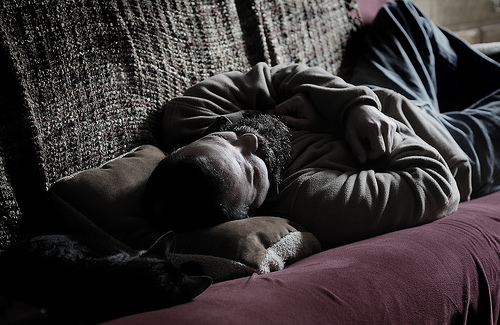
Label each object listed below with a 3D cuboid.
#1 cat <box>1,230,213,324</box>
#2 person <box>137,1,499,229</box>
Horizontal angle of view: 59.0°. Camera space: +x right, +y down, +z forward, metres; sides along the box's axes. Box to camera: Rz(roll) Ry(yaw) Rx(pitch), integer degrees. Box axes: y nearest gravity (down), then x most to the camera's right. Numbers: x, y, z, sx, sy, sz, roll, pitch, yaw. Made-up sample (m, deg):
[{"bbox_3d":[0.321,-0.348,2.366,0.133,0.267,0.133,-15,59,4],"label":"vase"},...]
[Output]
[{"bbox_3d":[-0.266,0.213,0.843,0.321,0.156,0.164,-4,29,-17],"label":"cat"},{"bbox_3d":[0.341,-0.119,1.377,1.090,0.365,0.691,-14,38,-31],"label":"person"}]
